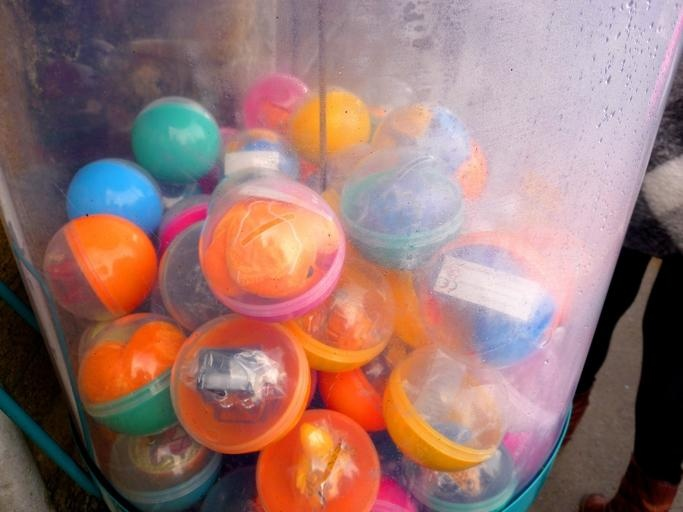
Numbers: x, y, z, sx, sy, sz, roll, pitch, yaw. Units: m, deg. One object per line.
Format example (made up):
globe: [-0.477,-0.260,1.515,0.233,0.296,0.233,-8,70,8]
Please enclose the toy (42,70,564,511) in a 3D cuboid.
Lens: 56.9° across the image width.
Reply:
toy: [-0.104,0.087,1.047,0.671,0.246,0.826,4,72,-3]
